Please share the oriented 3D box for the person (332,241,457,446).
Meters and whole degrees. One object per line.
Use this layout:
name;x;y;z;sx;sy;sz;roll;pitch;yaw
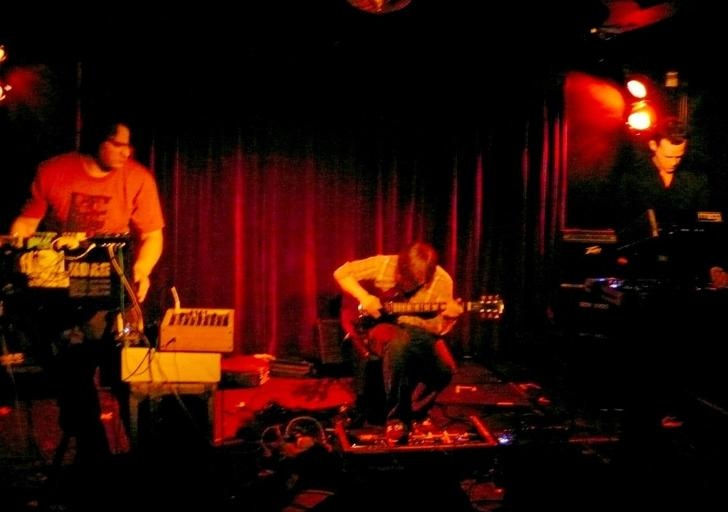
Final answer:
person;0.334;0.692;6.733;1.146;1.634;0.647;0;2;6
